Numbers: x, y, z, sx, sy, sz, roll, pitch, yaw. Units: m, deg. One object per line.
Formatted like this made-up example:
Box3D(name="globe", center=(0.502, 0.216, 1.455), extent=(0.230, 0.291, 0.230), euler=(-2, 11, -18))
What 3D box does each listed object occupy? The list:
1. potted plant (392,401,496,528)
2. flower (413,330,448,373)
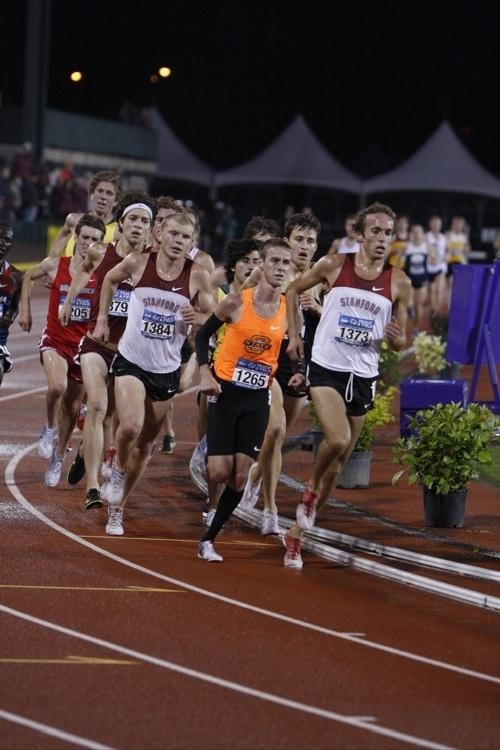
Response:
Box3D(name="potted plant", center=(1.580, 0.719, 5.278), extent=(0.682, 0.996, 0.436), euler=(1, -7, 20))
Box3D(name="flower", center=(3.168, -0.394, 11.627), extent=(0.585, 0.651, 0.589), euler=(-11, 40, 8))
